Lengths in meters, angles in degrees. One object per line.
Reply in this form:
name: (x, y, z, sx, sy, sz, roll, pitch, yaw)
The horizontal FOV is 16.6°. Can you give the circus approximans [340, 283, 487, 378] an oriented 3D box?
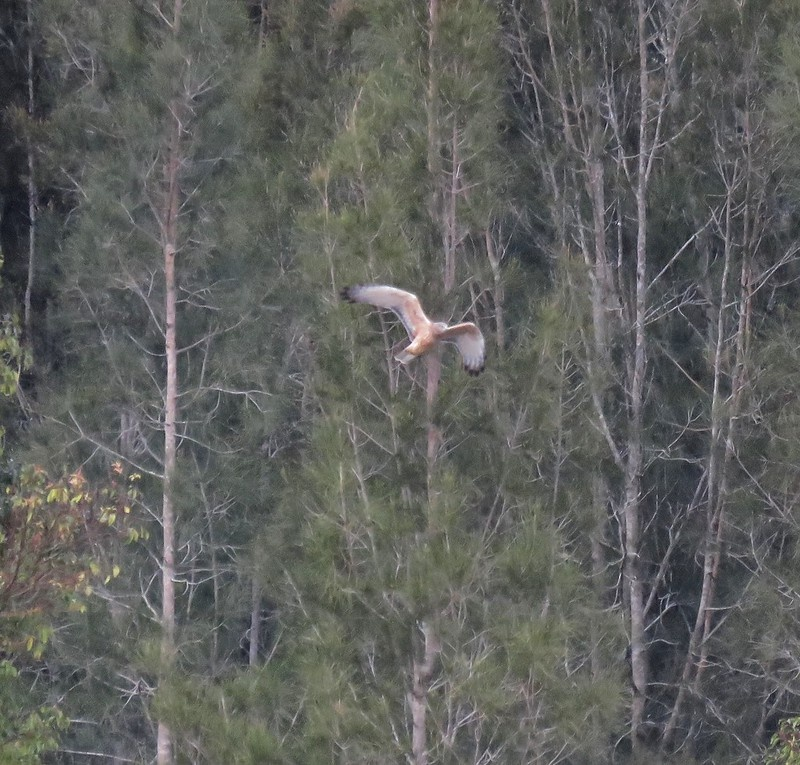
circus approximans: (0.190, -0.686, 32.444, 1.578, 1.157, 0.479, -1, 6, 5)
